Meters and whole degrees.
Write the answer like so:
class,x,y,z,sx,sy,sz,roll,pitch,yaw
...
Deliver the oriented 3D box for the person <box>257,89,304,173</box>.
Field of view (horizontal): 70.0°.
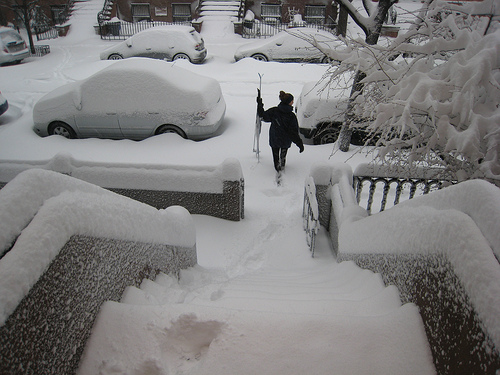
class,x,y,z,sx,sy,sz,roll,pitch,yaw
person,0.609,-1.113,7.274,0.945,1.667,0.515,4,30,9
